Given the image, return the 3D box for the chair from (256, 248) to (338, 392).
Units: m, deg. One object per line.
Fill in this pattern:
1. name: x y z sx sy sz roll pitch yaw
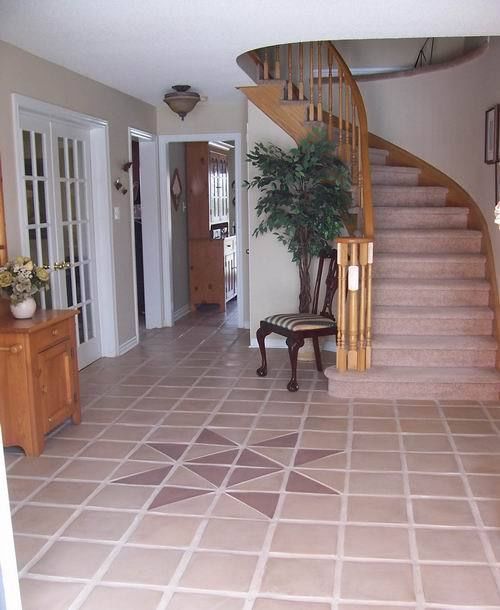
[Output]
1. chair: 0.404 0.069 4.298 0.698 1.068 1.160 -1 11 9

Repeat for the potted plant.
1. potted plant: 0.470 -0.957 5.701 1.567 2.889 1.742 -2 19 1

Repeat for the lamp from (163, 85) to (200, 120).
1. lamp: -0.699 -2.089 5.049 0.268 0.219 0.240 -1 6 -5

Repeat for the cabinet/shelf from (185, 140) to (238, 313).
1. cabinet/shelf: -0.529 -1.274 7.700 0.600 2.524 1.461 0 12 12

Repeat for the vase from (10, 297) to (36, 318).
1. vase: -1.346 0.012 2.952 0.137 0.124 0.132 0 16 -6
